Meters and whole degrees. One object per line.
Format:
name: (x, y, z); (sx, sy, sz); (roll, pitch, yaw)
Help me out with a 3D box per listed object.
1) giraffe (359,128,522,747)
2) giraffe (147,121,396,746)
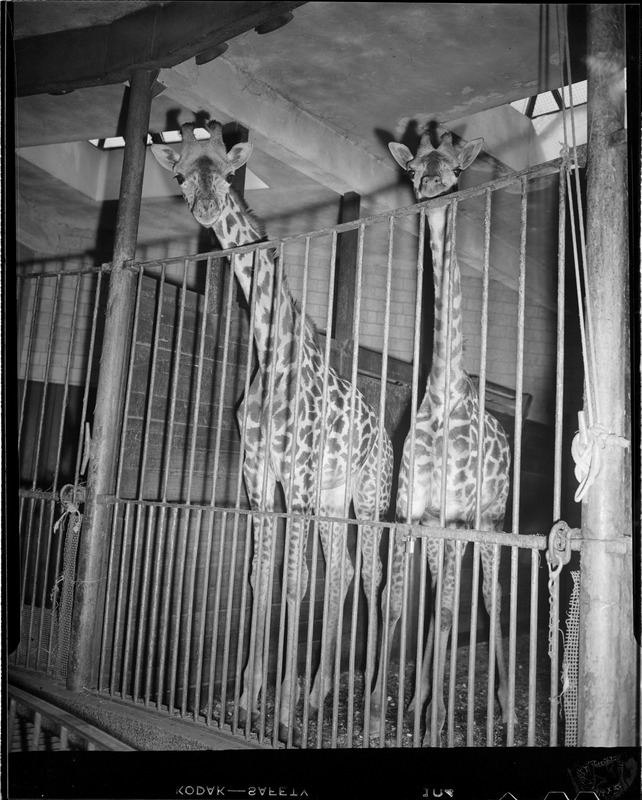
giraffe: (0.397, 0.005, 3.245); (0.504, 2.224, 1.382); (1, -11, 11)
giraffe: (-0.156, 0.026, 3.368); (0.816, 2.208, 1.283); (3, -10, 5)
